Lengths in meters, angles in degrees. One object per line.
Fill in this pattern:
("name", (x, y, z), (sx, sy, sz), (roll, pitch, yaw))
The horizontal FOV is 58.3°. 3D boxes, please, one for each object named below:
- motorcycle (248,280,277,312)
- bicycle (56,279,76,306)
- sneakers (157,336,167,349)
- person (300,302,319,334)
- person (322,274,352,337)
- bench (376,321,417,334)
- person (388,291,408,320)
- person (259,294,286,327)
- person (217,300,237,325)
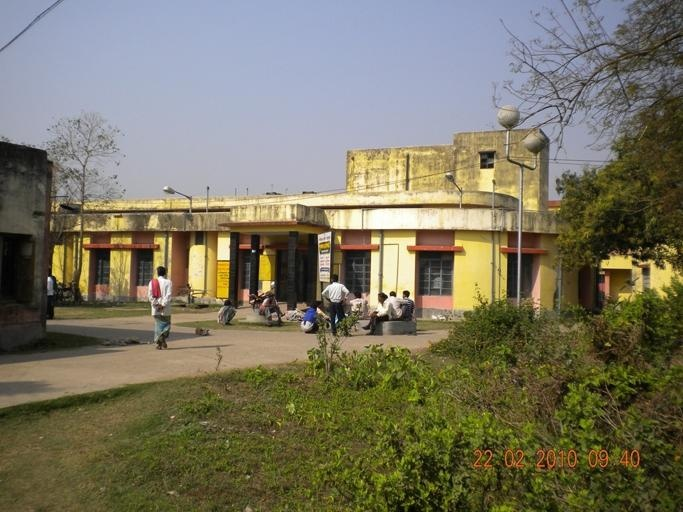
("motorcycle", (-2.731, 1.393, 21.533), (1.467, 1.031, 0.948), (-10, -7, 43))
("bicycle", (-13.952, 1.880, 30.781), (0.873, 1.180, 2.024), (0, -7, -14))
("sneakers", (-4.124, 1.920, 13.971), (0.133, 0.393, 0.157), (-1, 1, -13))
("person", (-0.815, 1.826, 17.762), (0.597, 0.959, 0.328), (2, 1, 44))
("person", (-0.162, 1.306, 17.349), (0.677, 1.667, 0.500), (-1, 17, 1))
("bench", (1.609, 2.070, 17.823), (1.175, 0.407, 0.405), (2, -3, -18))
("person", (1.683, 1.502, 18.298), (0.401, 1.020, 0.568), (-11, 15, 1))
("person", (-2.382, 1.772, 20.450), (0.739, 1.073, 0.707), (1, -3, -8))
("person", (-3.804, 1.854, 20.226), (0.471, 0.791, 1.142), (1, -3, -11))
